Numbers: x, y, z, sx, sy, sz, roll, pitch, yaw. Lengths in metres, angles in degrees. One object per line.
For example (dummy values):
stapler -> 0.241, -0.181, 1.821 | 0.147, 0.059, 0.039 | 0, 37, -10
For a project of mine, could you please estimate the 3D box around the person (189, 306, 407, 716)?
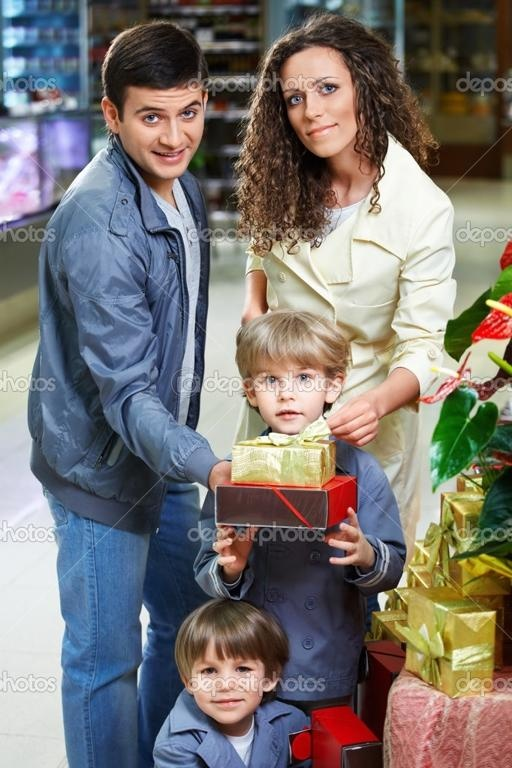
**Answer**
person -> 0.059, 0.284, 0.968 | 0.271, 0.747, 0.244 | 3, 11, 25
